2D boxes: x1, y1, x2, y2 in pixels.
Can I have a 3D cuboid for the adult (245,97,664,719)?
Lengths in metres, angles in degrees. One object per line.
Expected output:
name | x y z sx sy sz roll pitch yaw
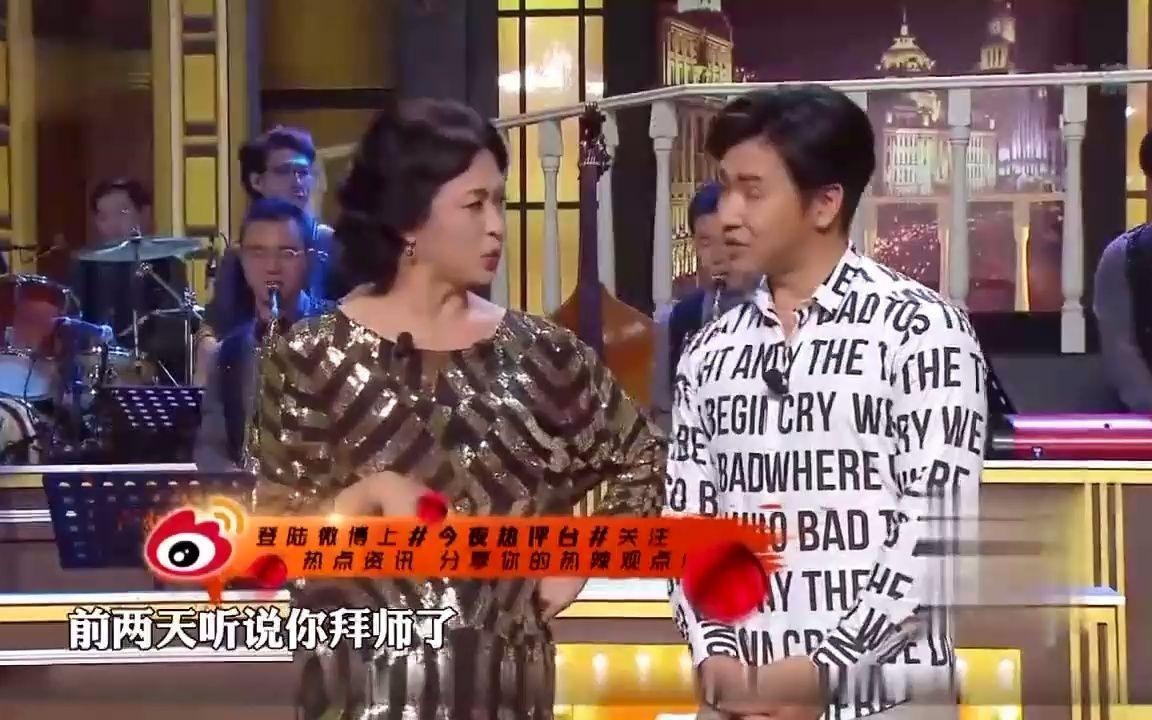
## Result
adult | -0.511 0.191 7.343 1.480 2.243 0.353 1 0 -13

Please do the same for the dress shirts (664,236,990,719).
dress shirts | 0.954 0.466 7.213 1.120 1.541 0.217 1 0 18

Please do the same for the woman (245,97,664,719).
woman | -0.512 0.191 7.360 1.448 2.243 0.359 1 0 5

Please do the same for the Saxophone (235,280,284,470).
Saxophone | -1.442 0.065 8.416 0.129 0.880 0.393 2 0 -27

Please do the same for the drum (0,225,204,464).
drum | -2.855 -0.073 11.875 1.225 1.346 1.209 -4 18 -21

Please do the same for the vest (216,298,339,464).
vest | -1.445 0.047 8.923 0.517 0.913 0.209 -4 -19 38

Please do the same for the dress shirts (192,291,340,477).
dress shirts | -1.537 0.166 8.712 0.524 1.018 0.293 4 9 -34

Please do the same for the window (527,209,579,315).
window | -0.209 -0.689 12.751 0.368 0.761 0.149 1 0 27

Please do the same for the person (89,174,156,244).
person | -3.028 -0.963 12.591 0.435 0.581 0.434 -2 -5 2
